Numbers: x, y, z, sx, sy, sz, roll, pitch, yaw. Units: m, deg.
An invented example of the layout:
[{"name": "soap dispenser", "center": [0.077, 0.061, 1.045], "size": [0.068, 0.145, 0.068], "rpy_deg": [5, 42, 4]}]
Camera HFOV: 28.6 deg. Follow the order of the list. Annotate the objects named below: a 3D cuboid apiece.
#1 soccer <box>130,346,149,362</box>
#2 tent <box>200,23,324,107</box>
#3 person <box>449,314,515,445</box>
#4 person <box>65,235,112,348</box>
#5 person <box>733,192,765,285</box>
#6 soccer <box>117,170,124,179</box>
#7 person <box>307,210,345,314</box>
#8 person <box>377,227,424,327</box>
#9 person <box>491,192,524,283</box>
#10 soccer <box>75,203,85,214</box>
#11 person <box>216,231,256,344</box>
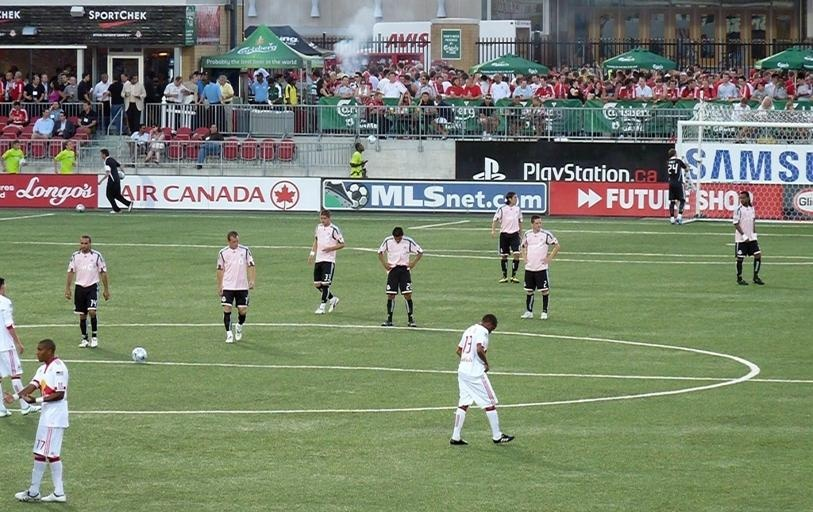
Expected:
[{"name": "soccer", "center": [-7.884, 2.798, 46.838], "size": [0.464, 0.374, 0.435], "rpy_deg": [2, 23, -8]}, {"name": "tent", "center": [-6.472, -9.174, 74.269], "size": [4.469, 1.751, 4.240], "rpy_deg": [-1, 5, 3]}, {"name": "person", "center": [1.851, 3.235, 42.734], "size": [1.479, 3.458, 0.712], "rpy_deg": [-1, 6, 2]}, {"name": "person", "center": [-9.645, 1.006, 48.026], "size": [1.230, 3.358, 0.906], "rpy_deg": [0, 8, -3]}, {"name": "person", "center": [11.548, -0.667, 54.367], "size": [0.984, 3.129, 0.809], "rpy_deg": [-3, 2, -15]}, {"name": "soccer", "center": [-12.239, -3.523, 68.024], "size": [0.235, 0.315, 0.227], "rpy_deg": [-3, -24, -42]}, {"name": "person", "center": [-2.627, 0.104, 51.385], "size": [0.960, 3.213, 0.726], "rpy_deg": [-2, 6, -12]}, {"name": "person", "center": [-0.270, 0.567, 50.348], "size": [1.178, 3.054, 1.410], "rpy_deg": [0, 2, 8]}, {"name": "person", "center": [3.438, -0.710, 55.016], "size": [1.149, 3.061, 0.717], "rpy_deg": [-1, 3, -10]}, {"name": "soccer", "center": [-14.319, -2.155, 69.704], "size": [0.330, 0.334, 0.409], "rpy_deg": [-2, 5, -9]}, {"name": "person", "center": [-5.213, 0.875, 48.636], "size": [1.176, 3.220, 1.244], "rpy_deg": [-4, 7, -30]}]
